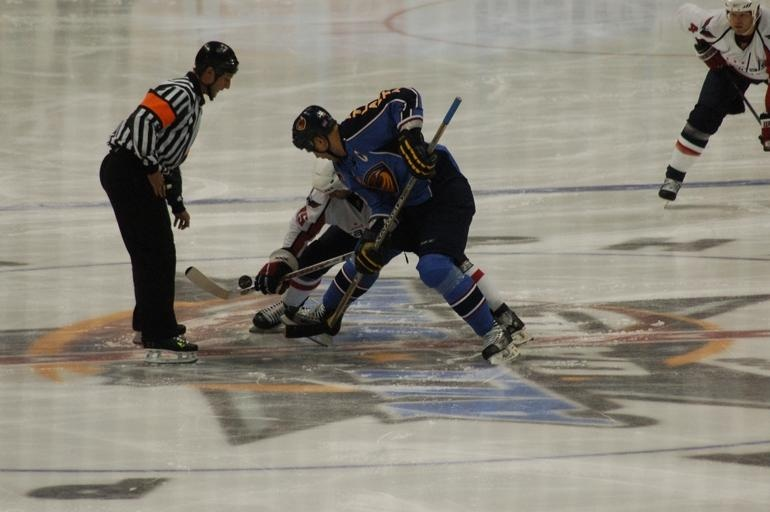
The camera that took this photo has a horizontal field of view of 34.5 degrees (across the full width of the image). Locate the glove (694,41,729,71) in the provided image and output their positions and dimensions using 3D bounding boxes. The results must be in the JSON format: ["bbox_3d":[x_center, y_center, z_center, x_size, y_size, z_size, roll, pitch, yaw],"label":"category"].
[{"bbox_3d":[2.836,-1.726,10.650,0.231,0.289,0.124,-7,48,53],"label":"glove"}]

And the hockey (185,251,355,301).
[{"bbox_3d":[-0.794,0.162,8.939,1.270,0.121,0.187,-14,79,24],"label":"hockey"}]

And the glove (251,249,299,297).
[{"bbox_3d":[-0.754,0.123,8.633,0.393,0.161,0.272,-32,17,1],"label":"glove"}]

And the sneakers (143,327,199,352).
[{"bbox_3d":[-1.399,0.575,8.137,0.440,0.120,0.122,0,91,-3],"label":"sneakers"}]

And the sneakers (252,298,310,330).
[{"bbox_3d":[-0.756,0.434,8.665,0.448,0.163,0.127,-21,49,-14],"label":"sneakers"}]

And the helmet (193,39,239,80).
[{"bbox_3d":[-1.084,-1.291,8.179,0.336,0.207,0.220,-15,23,-11],"label":"helmet"}]

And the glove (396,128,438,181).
[{"bbox_3d":[0.207,-0.636,7.928,0.141,0.284,0.315,-37,77,30],"label":"glove"}]

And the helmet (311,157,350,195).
[{"bbox_3d":[-0.380,-0.525,8.407,0.239,0.284,0.199,16,104,37],"label":"helmet"}]
